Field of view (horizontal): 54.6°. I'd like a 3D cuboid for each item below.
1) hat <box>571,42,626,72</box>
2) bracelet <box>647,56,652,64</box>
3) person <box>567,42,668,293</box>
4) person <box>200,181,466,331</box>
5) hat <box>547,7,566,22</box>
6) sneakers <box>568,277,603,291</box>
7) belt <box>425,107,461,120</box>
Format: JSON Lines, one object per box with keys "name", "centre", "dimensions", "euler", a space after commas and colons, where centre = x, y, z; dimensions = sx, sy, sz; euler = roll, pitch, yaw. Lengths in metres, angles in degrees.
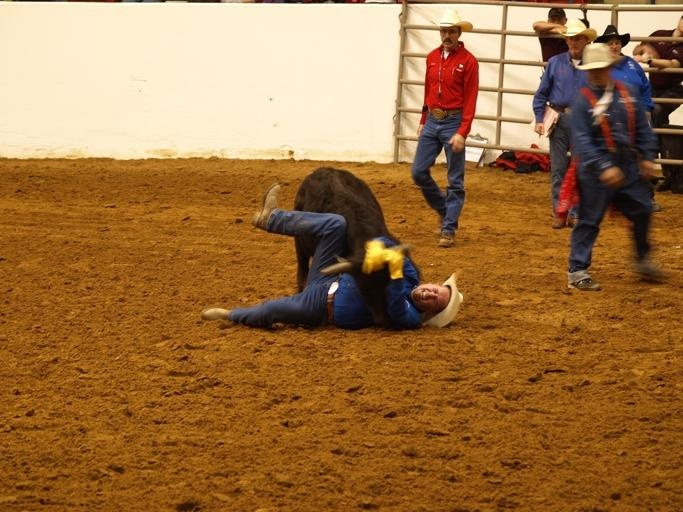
{"name": "hat", "centre": [2.065, -1.617, 5.325], "dimensions": [0.272, 0.237, 0.243], "euler": [7, 10, 29]}
{"name": "bracelet", "centre": [4.539, -2.890, 9.710], "dimensions": [0.039, 0.100, 0.070], "euler": [13, 5, 9]}
{"name": "person", "centre": [2.301, -0.712, 5.644], "dimensions": [0.580, 2.090, 0.818], "euler": [12, 14, 40]}
{"name": "person", "centre": [0.450, 0.170, 5.029], "dimensions": [2.514, 0.918, 0.778], "euler": [-2, -22, 16]}
{"name": "hat", "centre": [3.238, -3.660, 9.975], "dimensions": [0.252, 0.112, 0.297], "euler": [-1, -7, 18]}
{"name": "sneakers", "centre": [2.174, 0.237, 5.859], "dimensions": [0.293, 0.090, 0.122], "euler": [0, 7, 37]}
{"name": "belt", "centre": [1.139, -1.581, 7.299], "dimensions": [0.292, 0.071, 0.239], "euler": [1, -1, 20]}
